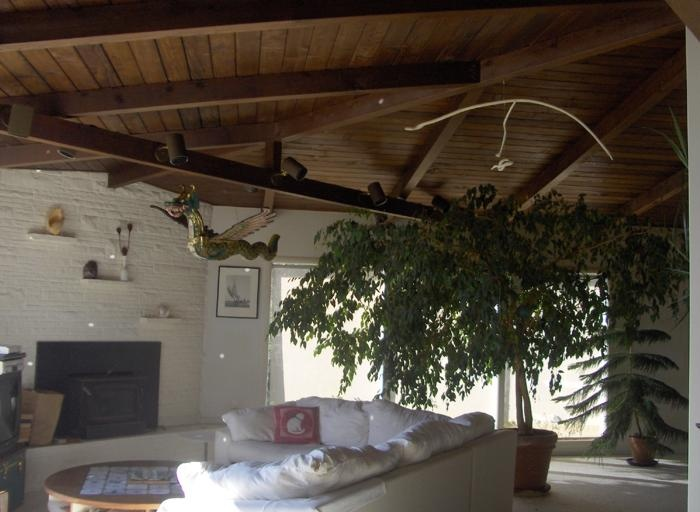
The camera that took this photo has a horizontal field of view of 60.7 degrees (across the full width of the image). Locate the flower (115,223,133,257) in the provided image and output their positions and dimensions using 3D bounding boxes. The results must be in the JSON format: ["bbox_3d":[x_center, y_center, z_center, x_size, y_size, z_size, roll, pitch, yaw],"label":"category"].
[{"bbox_3d":[-2.438,-0.188,6.497,0.186,0.387,0.097,7,-12,-29],"label":"flower"}]

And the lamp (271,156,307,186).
[{"bbox_3d":[-0.516,-0.711,5.066,0.285,0.227,0.342,2,-11,-6],"label":"lamp"}]

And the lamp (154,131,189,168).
[{"bbox_3d":[-1.279,-0.759,4.406,0.261,0.204,0.347,6,-12,-26],"label":"lamp"}]

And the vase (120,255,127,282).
[{"bbox_3d":[-2.426,0.139,6.468,0.086,0.278,0.086,5,-11,-20],"label":"vase"}]

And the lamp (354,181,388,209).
[{"bbox_3d":[0.261,-0.597,5.763,0.205,0.255,0.310,1,-11,3],"label":"lamp"}]

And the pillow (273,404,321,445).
[{"bbox_3d":[-0.464,1.459,5.161,0.354,0.292,0.101,1,-24,-2],"label":"pillow"}]
